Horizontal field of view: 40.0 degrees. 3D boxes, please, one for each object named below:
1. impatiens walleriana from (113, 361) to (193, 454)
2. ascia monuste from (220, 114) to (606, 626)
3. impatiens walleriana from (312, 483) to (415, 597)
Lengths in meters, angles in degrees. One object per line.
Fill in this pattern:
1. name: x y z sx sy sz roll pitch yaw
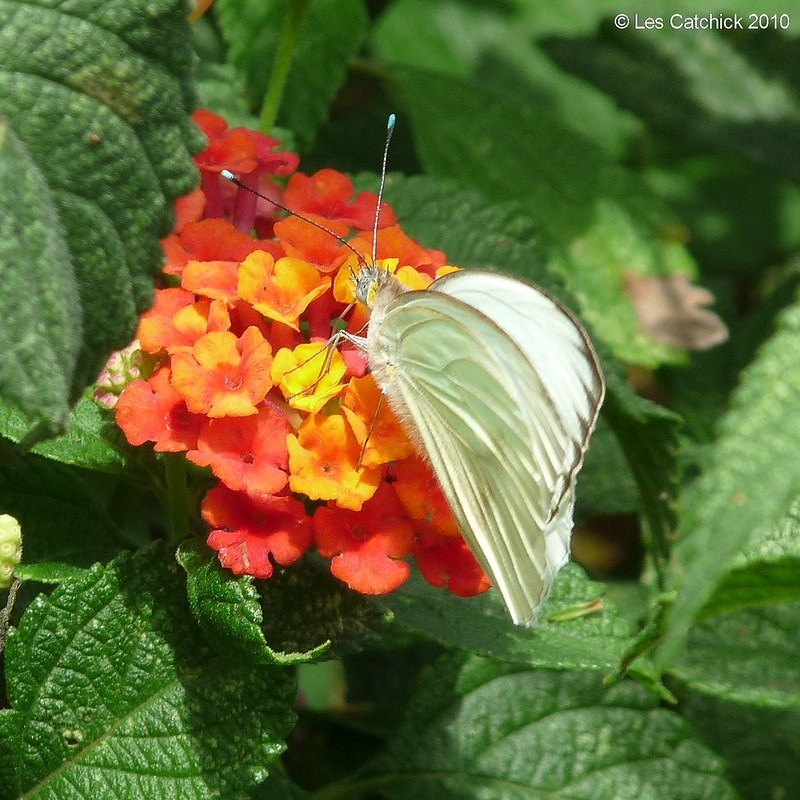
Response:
1. impatiens walleriana: -0.318 0.012 1.498 0.103 0.117 0.090 -13 24 -29
2. ascia monuste: 0.072 -0.012 1.540 0.534 0.710 0.309 14 25 30
3. impatiens walleriana: -0.050 0.189 1.502 0.115 0.154 0.136 -5 20 -26
